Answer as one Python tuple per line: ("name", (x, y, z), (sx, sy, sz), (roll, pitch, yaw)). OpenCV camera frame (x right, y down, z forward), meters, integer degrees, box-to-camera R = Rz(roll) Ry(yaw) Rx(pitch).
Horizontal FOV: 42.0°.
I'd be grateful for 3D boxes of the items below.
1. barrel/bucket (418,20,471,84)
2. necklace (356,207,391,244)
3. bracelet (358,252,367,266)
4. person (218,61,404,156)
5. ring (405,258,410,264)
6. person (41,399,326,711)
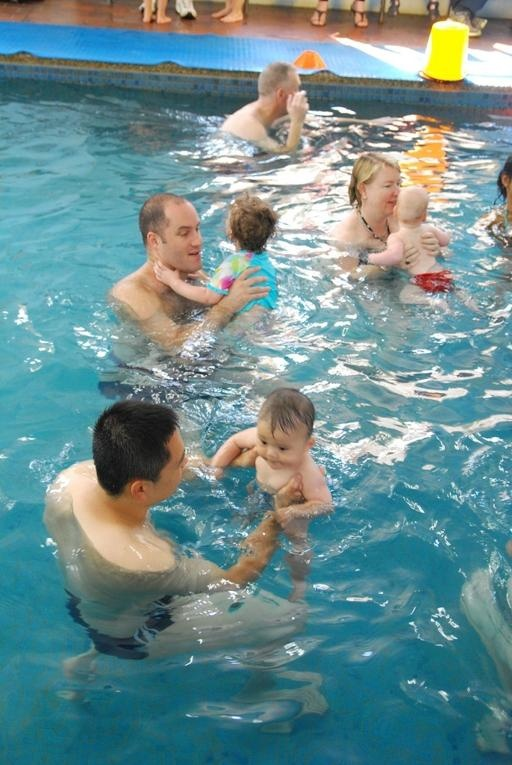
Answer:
("barrel/bucket", (2.364, -4.075, 8.268), (0.543, 0.678, 0.673), (8, 26, 10))
("necklace", (0.809, -1.066, 4.565), (0.174, 0.249, 0.047), (-28, 21, 16))
("bracelet", (0.719, -0.833, 4.486), (0.072, 0.024, 0.090), (-4, 41, 12))
("person", (0.125, -2.601, 6.326), (0.902, 0.767, 0.680), (12, 27, 17))
("ring", (0.972, -0.774, 4.274), (0.011, 0.032, 0.034), (3, 0, -42))
("person", (-0.261, 0.486, 2.156), (1.010, 0.750, 0.602), (7, 26, 6))
